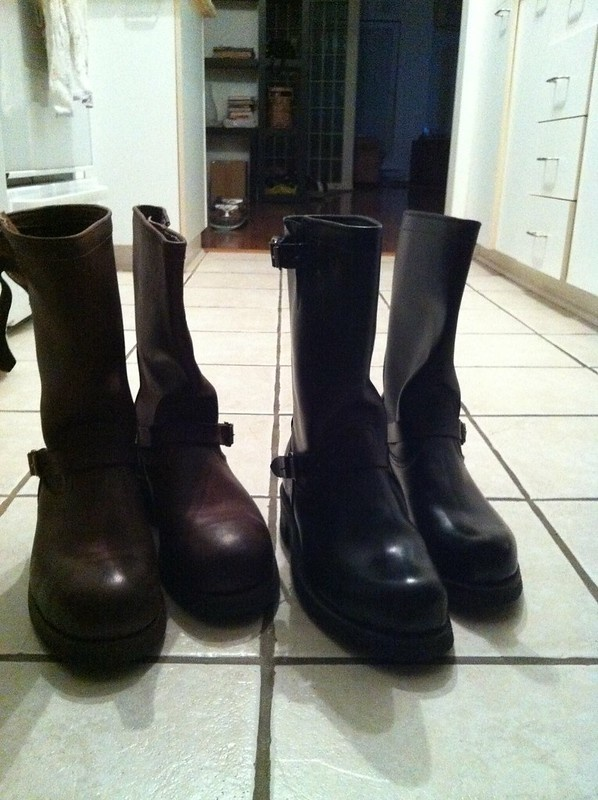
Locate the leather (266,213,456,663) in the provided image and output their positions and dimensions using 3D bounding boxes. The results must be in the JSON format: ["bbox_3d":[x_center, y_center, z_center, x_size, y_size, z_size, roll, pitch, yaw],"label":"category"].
[{"bbox_3d":[0.040,0.014,0.504,0.096,0.312,0.282,-5,20,-19],"label":"leather"}]
